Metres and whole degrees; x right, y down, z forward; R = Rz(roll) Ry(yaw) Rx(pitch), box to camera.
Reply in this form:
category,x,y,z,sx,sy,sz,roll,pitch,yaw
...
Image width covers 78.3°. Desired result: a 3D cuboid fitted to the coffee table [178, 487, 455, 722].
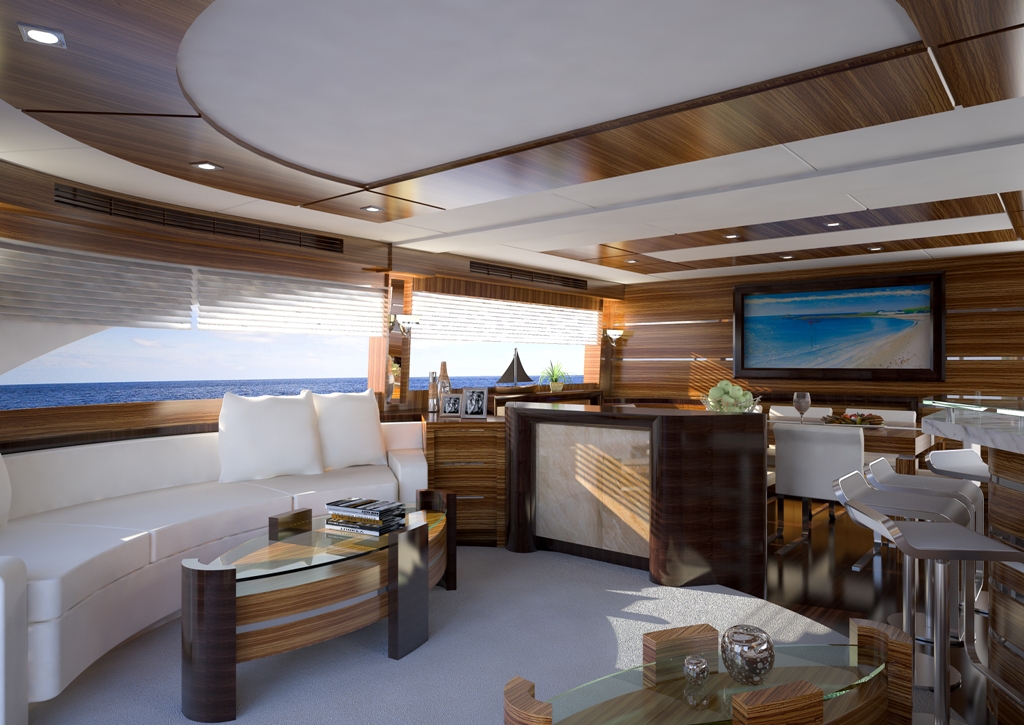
category,x,y,z,sx,sy,sz,roll,pitch,yaw
coffee table,-1.220,1.306,3.520,0.986,0.514,1.841,1,1,30

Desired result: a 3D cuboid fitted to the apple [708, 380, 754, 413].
category,x,y,z,sx,sy,sz,roll,pitch,yaw
apple,1.665,0.273,4.837,0.363,0.163,0.236,2,0,7

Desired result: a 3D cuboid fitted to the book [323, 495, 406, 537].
category,x,y,z,sx,sy,sz,roll,pitch,yaw
book,-0.990,1.004,4.137,0.363,0.096,0.261,2,1,28

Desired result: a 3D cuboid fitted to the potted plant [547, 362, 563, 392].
category,x,y,z,sx,sy,sz,roll,pitch,yaw
potted plant,0.576,0.198,8.622,0.181,0.412,0.257,0,8,-3

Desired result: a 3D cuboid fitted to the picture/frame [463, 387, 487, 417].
category,x,y,z,sx,sy,sz,roll,pitch,yaw
picture/frame,-0.347,0.365,5.753,0.247,0.218,0.077,-1,-5,7

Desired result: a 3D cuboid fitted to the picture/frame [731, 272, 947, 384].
category,x,y,z,sx,sy,sz,roll,pitch,yaw
picture/frame,4.046,-0.421,7.591,1.787,0.827,0.176,1,0,35

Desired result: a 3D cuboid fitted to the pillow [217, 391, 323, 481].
category,x,y,z,sx,sy,sz,roll,pitch,yaw
pillow,-2.020,0.634,5.190,0.866,0.659,0.276,0,-23,-35

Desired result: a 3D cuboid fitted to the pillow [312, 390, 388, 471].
category,x,y,z,sx,sy,sz,roll,pitch,yaw
pillow,-1.477,0.633,5.628,0.750,0.646,0.262,-6,-12,-40

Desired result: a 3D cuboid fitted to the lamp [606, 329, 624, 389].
category,x,y,z,sx,sy,sz,roll,pitch,yaw
lamp,1.517,-0.029,9.462,0.370,0.922,0.200,-2,9,-19
